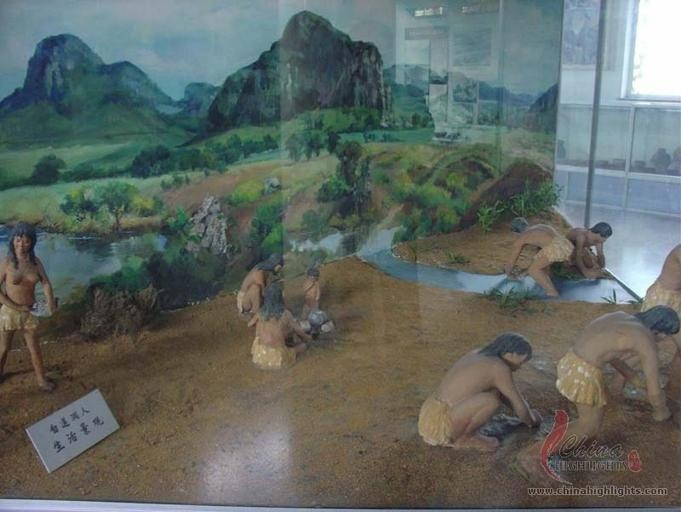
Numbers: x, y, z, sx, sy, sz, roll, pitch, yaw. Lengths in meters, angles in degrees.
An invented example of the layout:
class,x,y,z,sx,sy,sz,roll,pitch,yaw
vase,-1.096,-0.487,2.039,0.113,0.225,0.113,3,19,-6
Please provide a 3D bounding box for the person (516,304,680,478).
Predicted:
class,x,y,z,sx,sy,sz,roll,pitch,yaw
person,2.240,1.215,4.295,1.165,1.257,0.696,-8,31,6

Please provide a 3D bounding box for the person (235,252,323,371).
class,x,y,z,sx,sy,sz,roll,pitch,yaw
person,-0.821,0.682,5.944,0.771,1.274,0.453,-3,-29,2

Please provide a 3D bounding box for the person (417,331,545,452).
class,x,y,z,sx,sy,sz,roll,pitch,yaw
person,1.290,1.191,4.499,1.051,0.949,0.751,-1,6,0

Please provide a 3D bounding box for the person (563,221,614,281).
class,x,y,z,sx,sy,sz,roll,pitch,yaw
person,3.017,-0.112,6.150,0.321,0.720,0.721,-15,28,-19
